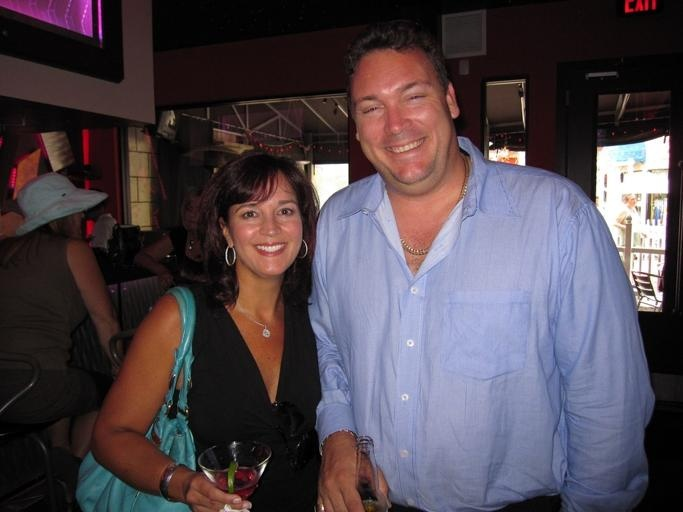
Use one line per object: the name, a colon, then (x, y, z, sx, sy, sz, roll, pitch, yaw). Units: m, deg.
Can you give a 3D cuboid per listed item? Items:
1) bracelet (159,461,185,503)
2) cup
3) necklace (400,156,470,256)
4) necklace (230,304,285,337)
bracelet: (-0.666, 0.881, 2.071, 0.084, 0.125, 0.038, -4, 4, -42)
cup: (-0.400, 0.796, 2.011, 0.225, 0.200, 0.226, -2, 8, 0)
necklace: (0.418, -0.224, 2.174, 0.027, 0.420, 0.275, 17, -13, -39)
necklace: (-0.384, 0.280, 2.472, 0.272, 0.046, 0.092, 50, 19, 20)
